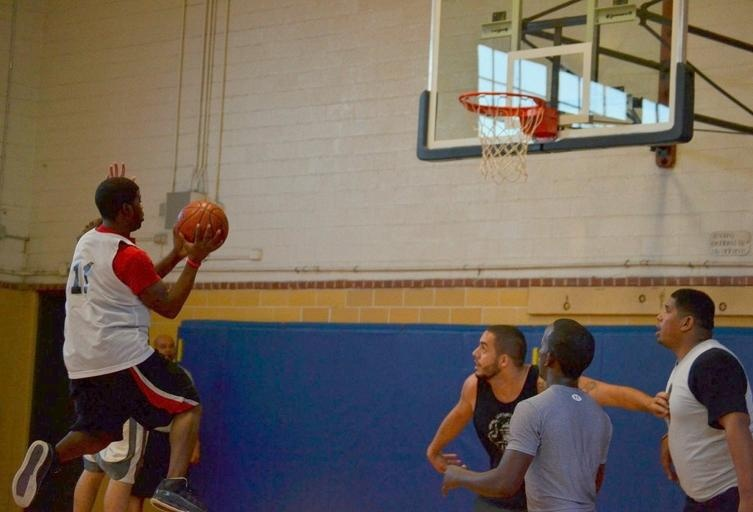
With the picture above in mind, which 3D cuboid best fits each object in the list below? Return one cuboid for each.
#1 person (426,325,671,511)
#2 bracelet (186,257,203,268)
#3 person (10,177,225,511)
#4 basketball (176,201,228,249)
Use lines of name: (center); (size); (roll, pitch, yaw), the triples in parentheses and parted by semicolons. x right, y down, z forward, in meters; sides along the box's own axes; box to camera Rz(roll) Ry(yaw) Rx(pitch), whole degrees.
person: (1.369, 1.239, 6.412); (1.205, 1.565, 0.965); (-15, 34, -30)
bracelet: (-1.323, 0.059, 6.276); (0.094, 0.056, 0.132); (4, 1, -16)
person: (-1.838, 0.653, 6.340); (1.315, 2.462, 0.315); (4, 2, 3)
basketball: (-1.352, -0.177, 6.447); (0.287, 0.350, 0.284); (7, -12, -32)
